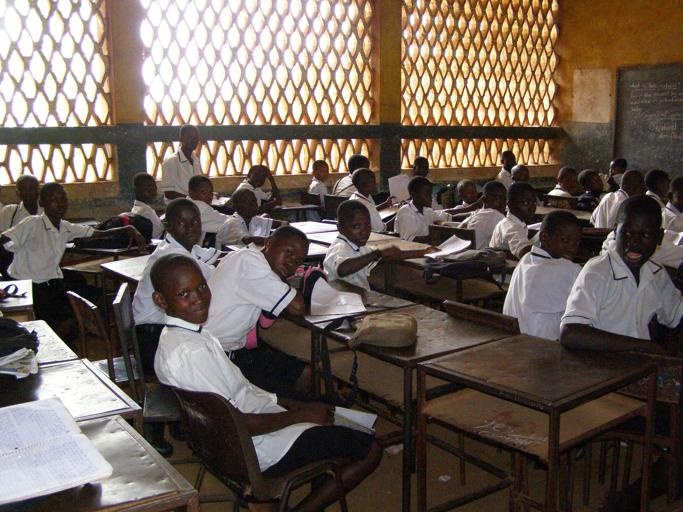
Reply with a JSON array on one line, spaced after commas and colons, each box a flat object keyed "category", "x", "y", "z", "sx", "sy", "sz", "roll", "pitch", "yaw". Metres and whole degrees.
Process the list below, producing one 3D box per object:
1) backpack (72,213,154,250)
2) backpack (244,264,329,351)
[{"category": "backpack", "x": -1.547, "y": -0.170, "z": 3.832, "sx": 0.299, "sy": 0.135, "sz": 0.417, "roll": 15, "pitch": 17, "yaw": 31}, {"category": "backpack", "x": -0.209, "y": 0.226, "z": 2.367, "sx": 0.286, "sy": 0.354, "sz": 0.159, "roll": -2, "pitch": -19, "yaw": 45}]
